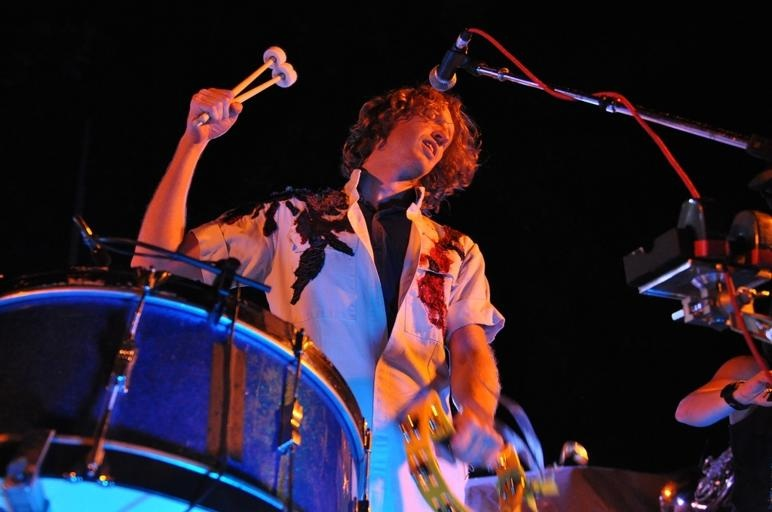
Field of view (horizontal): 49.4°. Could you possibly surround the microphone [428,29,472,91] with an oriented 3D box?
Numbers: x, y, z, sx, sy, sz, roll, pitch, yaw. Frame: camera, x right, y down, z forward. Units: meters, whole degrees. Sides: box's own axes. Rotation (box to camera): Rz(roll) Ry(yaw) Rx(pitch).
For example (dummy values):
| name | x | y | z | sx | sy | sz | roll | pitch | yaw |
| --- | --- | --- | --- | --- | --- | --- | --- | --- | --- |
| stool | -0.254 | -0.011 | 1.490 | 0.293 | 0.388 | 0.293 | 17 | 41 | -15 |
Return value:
| name | x | y | z | sx | sy | sz | roll | pitch | yaw |
| --- | --- | --- | --- | --- | --- | --- | --- | --- | --- |
| microphone | 0.261 | -0.771 | 3.319 | 0.099 | 0.136 | 0.254 | 16 | -28 | -18 |
